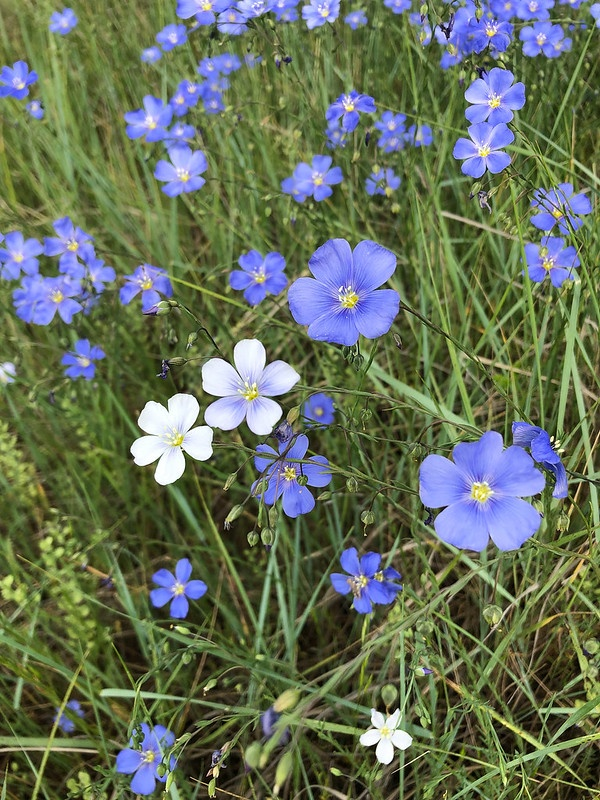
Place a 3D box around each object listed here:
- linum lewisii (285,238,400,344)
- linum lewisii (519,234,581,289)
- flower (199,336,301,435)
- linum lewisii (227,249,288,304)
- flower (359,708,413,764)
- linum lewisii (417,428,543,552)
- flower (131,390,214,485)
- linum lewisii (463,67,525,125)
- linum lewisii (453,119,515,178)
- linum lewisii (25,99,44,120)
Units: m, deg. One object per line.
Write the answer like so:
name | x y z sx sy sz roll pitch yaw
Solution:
linum lewisii | 0.133 -0.306 2.083 0.271 0.111 0.329 -11 70 20
linum lewisii | 0.898 -0.527 2.711 0.153 0.120 0.266 -3 45 14
flower | -0.144 -0.038 2.132 0.264 0.297 0.076 2 49 -2
linum lewisii | -0.165 -0.500 2.993 0.199 0.157 0.225 13 50 27
flower | 0.248 0.972 2.187 0.164 0.088 0.188 3 83 1
linum lewisii | 0.446 0.227 1.837 0.293 0.176 0.264 -21 43 -6
flower | -0.361 0.119 2.195 0.234 0.094 0.284 -9 70 38
linum lewisii | 0.676 -1.055 2.628 0.187 0.206 0.066 -1 47 28
linum lewisii | 0.616 -0.828 2.500 0.208 0.071 0.234 -9 75 39
linum lewisii | -1.108 -1.222 3.112 0.087 0.096 0.036 18 31 6
